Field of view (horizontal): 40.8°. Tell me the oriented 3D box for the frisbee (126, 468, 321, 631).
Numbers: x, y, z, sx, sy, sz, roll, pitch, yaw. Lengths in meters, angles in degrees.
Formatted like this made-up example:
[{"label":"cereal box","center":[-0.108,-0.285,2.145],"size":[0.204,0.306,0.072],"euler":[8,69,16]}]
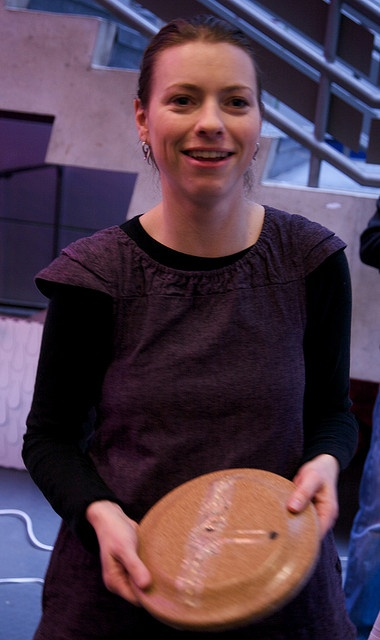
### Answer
[{"label":"frisbee","center":[0.039,0.225,0.515],"size":[0.178,0.111,0.140],"euler":[11,5,-2]}]
